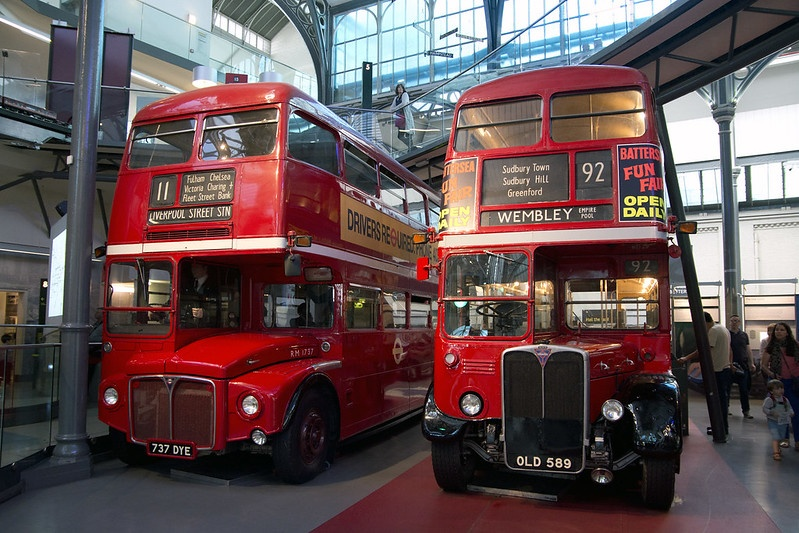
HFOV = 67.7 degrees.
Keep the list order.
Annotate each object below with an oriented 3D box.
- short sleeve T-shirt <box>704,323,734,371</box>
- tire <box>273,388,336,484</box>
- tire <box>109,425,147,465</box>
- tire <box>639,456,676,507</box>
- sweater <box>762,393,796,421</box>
[{"bbox_3d":[6.574,1.699,12.311,0.519,1.200,1.059,-5,0,26],"label":"short sleeve T-shirt"},{"bbox_3d":[-1.554,2.680,9.377,0.362,1.156,1.229,0,-23,23],"label":"tire"},{"bbox_3d":[-4.386,2.879,9.641,0.265,0.769,0.757,-10,-9,8],"label":"tire"},{"bbox_3d":[3.570,2.975,8.220,0.332,0.833,0.818,3,2,14],"label":"tire"},{"bbox_3d":[6.795,2.449,10.808,0.627,0.622,0.377,3,-7,-21],"label":"sweater"}]
